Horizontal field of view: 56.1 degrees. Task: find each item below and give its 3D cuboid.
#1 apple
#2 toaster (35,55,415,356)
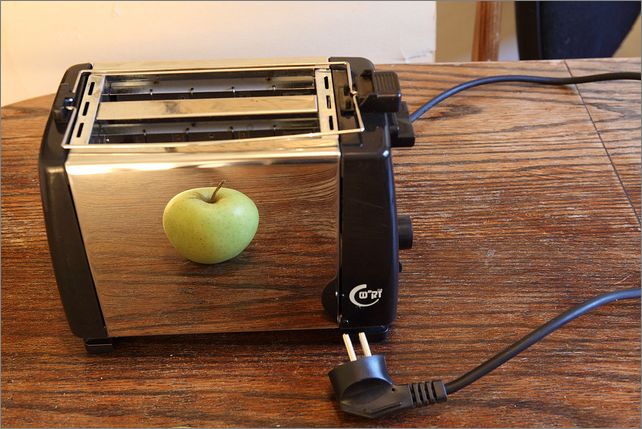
[{"bbox_3d":[-0.130,0.007,0.715,0.113,0.086,0.086,-11,31,-23],"label":"apple"},{"bbox_3d":[-0.100,-0.022,0.769,0.422,0.333,0.287,-4,32,6],"label":"toaster"}]
